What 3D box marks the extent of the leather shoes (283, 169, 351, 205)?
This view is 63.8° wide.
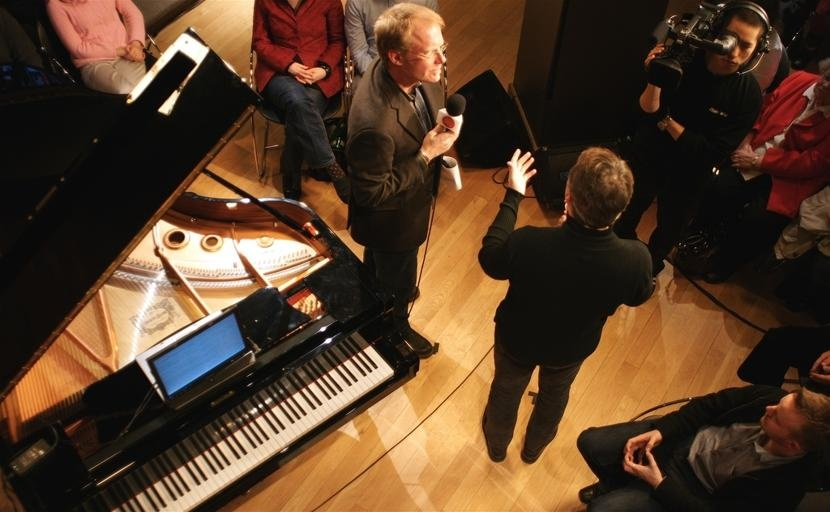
[{"bbox_3d":[-0.790,-0.550,5.352,0.392,0.136,0.274,17,4,6],"label":"leather shoes"}]

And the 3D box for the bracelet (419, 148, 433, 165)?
[{"bbox_3d":[0.075,-0.600,4.073,0.024,0.080,0.086,-5,42,53],"label":"bracelet"}]

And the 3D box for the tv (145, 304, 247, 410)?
[{"bbox_3d":[-1.150,0.643,3.824,0.541,0.294,0.375,-32,53,-7],"label":"tv"}]

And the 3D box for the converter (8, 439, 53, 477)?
[{"bbox_3d":[-2.075,1.091,3.637,0.220,0.051,0.121,-37,65,-25],"label":"converter"}]

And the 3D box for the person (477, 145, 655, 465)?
[{"bbox_3d":[0.895,0.360,4.414,1.013,2.532,0.898,12,44,5],"label":"person"}]

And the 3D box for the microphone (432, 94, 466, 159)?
[{"bbox_3d":[0.222,-0.864,4.070,0.146,0.320,0.275,10,46,5],"label":"microphone"}]
